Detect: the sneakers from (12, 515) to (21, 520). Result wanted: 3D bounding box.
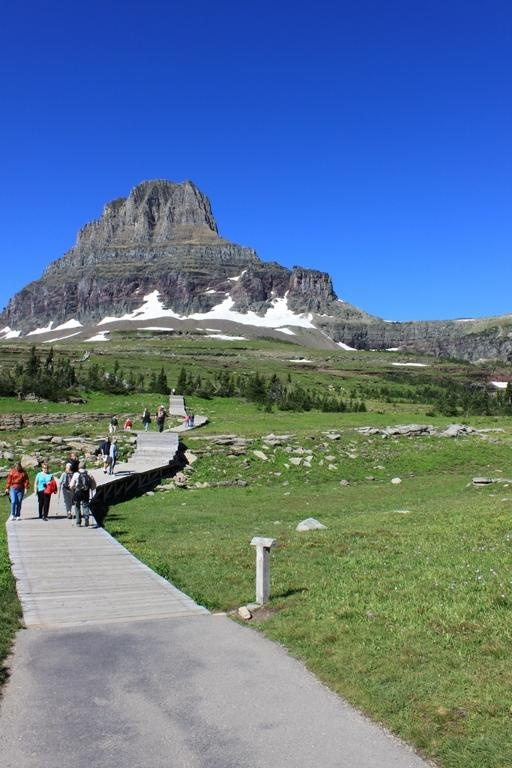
[{"bbox_3d":[-9.093,5.117,23.763,0.305,0.152,0.482,2,-3,-23],"label":"sneakers"}]

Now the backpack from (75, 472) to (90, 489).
[{"bbox_3d":[-6.549,3.669,23.605,0.391,0.654,0.584,-15,-16,37],"label":"backpack"}]

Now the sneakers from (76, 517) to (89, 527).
[{"bbox_3d":[-6.563,5.283,23.804,0.238,0.277,0.657,2,-9,-2],"label":"sneakers"}]
